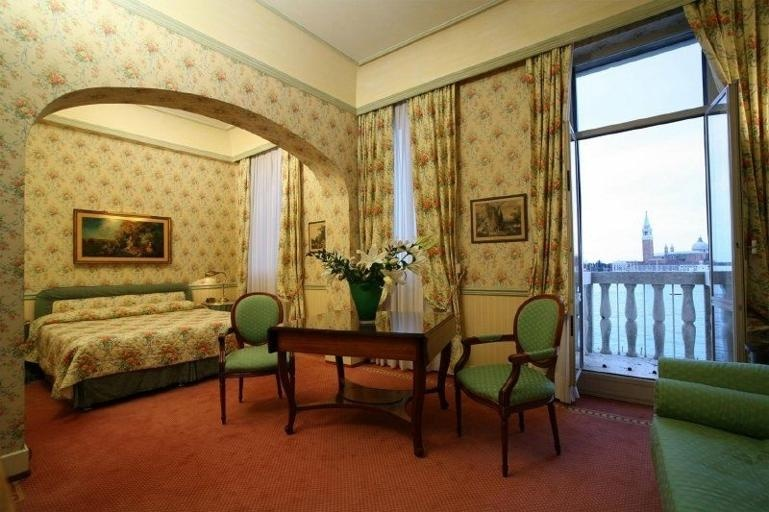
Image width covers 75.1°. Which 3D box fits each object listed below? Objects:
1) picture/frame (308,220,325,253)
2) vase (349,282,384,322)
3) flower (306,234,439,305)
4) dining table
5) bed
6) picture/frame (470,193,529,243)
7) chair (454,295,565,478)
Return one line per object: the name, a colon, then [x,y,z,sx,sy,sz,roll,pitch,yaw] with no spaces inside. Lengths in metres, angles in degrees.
picture/frame: [-1.095,-0.321,8.164,0.611,0.636,0.042,-2,-3,40]
vase: [-0.167,0.555,5.725,0.442,0.442,0.439,7,-11,-34]
flower: [-0.108,0.100,5.609,1.168,0.585,0.364,-1,-1,16]
dining table: [-0.032,1.103,5.837,1.813,1.138,1.521,-1,0,20]
bed: [-3.801,1.147,6.934,1.867,0.884,1.978,3,4,43]
picture/frame: [1.574,-0.502,6.617,0.687,0.565,0.048,0,2,33]
chair: [1.367,1.293,5.288,1.177,1.840,0.802,-1,0,0]
